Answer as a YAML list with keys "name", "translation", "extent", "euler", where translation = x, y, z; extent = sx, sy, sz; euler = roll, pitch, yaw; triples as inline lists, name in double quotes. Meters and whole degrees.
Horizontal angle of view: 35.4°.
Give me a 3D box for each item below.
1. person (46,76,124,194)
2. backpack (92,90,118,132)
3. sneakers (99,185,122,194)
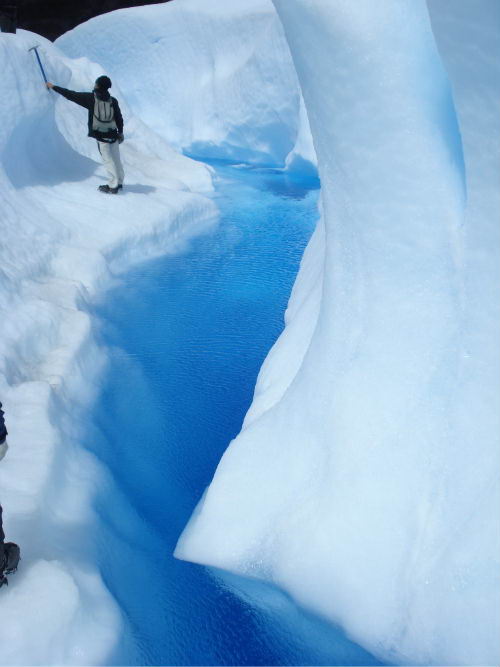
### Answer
- name: "person"
  translation: [-1.373, -1.843, 7.218]
  extent: [0.521, 1.176, 0.534]
  euler: [-27, 49, -6]
- name: "backpack"
  translation: [-1.294, -1.955, 6.905]
  extent: [0.248, 0.316, 0.171]
  euler: [-20, 39, -33]
- name: "sneakers"
  translation: [-1.347, -1.369, 7.463]
  extent: [0.086, 0.083, 0.189]
  euler: [-5, 18, -25]
